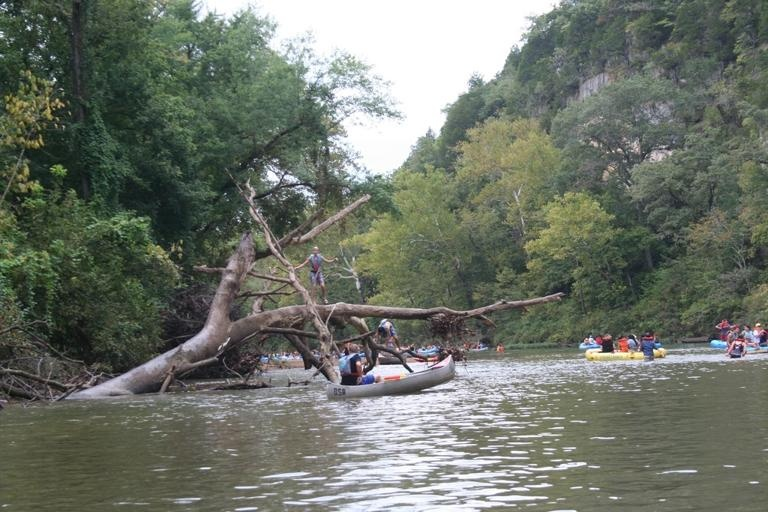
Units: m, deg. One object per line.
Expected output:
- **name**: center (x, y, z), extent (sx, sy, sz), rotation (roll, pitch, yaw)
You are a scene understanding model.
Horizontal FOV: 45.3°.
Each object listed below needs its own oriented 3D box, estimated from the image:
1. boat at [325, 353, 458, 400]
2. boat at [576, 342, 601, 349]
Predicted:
- **boat**: center (0.752, 5.826, 42.223), extent (7.065, 1.726, 2.459), rotation (-7, -2, -26)
- **boat**: center (15.745, 7.025, 71.209), extent (1.513, 0.369, 1.473), rotation (0, -2, 18)
